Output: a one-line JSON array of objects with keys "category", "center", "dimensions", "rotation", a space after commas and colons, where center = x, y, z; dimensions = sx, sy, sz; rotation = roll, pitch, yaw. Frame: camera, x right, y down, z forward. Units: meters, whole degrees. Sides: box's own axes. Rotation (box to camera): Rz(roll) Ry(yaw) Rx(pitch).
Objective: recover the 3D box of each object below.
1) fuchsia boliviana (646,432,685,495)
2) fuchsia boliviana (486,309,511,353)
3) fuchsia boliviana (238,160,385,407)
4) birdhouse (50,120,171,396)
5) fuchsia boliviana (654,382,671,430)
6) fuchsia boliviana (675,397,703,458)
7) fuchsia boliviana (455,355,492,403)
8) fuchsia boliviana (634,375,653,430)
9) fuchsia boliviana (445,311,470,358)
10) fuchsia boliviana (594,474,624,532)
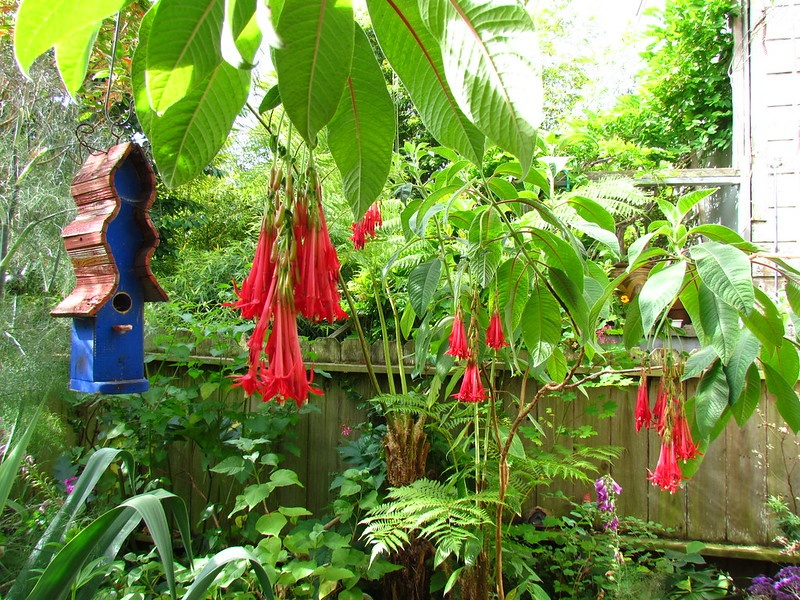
[{"category": "fuchsia boliviana", "center": [1.117, 0.683, 2.941], "dimensions": [0.120, 0.245, 0.269], "rotation": [-3, -7, 20]}, {"category": "fuchsia boliviana", "center": [0.394, 0.128, 2.957], "dimensions": [0.123, 0.198, 0.126], "rotation": [0, -5, -3]}, {"category": "fuchsia boliviana", "center": [-0.378, -0.044, 2.409], "dimensions": [0.282, 0.797, 0.391], "rotation": [6, -9, -45]}, {"category": "birdhouse", "center": [-1.474, -0.148, 3.576], "dimensions": [0.506, 1.230, 0.372], "rotation": [-4, -7, 28]}, {"category": "fuchsia boliviana", "center": [1.089, 0.434, 2.918], "dimensions": [0.054, 0.211, 0.233], "rotation": [-3, -7, 19]}, {"category": "fuchsia boliviana", "center": [1.185, 0.526, 2.895], "dimensions": [0.081, 0.250, 0.221], "rotation": [-4, -8, 28]}, {"category": "fuchsia boliviana", "center": [0.303, 0.340, 3.021], "dimensions": [0.166, 0.240, 0.171], "rotation": [2, 8, 2]}, {"category": "fuchsia boliviana", "center": [1.065, 0.445, 3.076], "dimensions": [0.057, 0.240, 0.465], "rotation": [-3, -8, 18]}, {"category": "fuchsia boliviana", "center": [0.245, 0.154, 2.963], "dimensions": [0.087, 0.182, 0.213], "rotation": [-1, -7, 4]}, {"category": "fuchsia boliviana", "center": [1.149, 1.103, 3.857], "dimensions": [0.130, 0.336, 0.483], "rotation": [-3, -7, 16]}]
